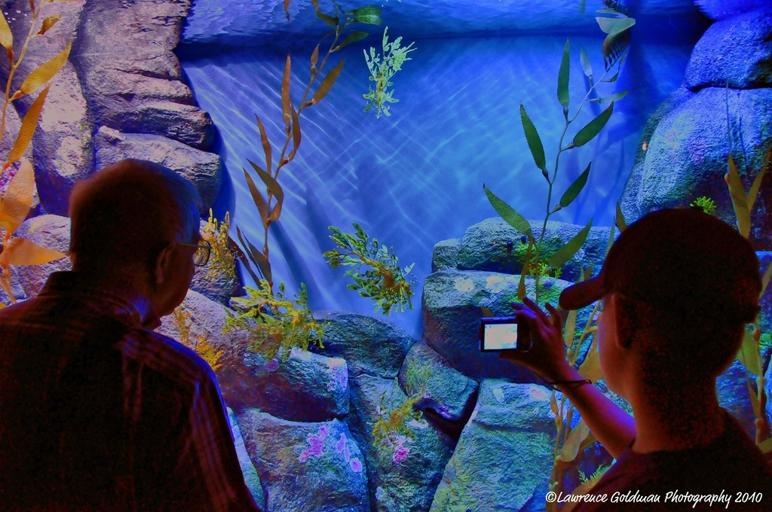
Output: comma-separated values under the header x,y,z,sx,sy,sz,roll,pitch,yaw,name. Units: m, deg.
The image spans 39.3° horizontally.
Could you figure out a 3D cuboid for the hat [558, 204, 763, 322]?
x,y,z,sx,sy,sz,roll,pitch,yaw,name
1.709,0.063,6.401,0.798,0.456,0.607,8,-2,14,hat
